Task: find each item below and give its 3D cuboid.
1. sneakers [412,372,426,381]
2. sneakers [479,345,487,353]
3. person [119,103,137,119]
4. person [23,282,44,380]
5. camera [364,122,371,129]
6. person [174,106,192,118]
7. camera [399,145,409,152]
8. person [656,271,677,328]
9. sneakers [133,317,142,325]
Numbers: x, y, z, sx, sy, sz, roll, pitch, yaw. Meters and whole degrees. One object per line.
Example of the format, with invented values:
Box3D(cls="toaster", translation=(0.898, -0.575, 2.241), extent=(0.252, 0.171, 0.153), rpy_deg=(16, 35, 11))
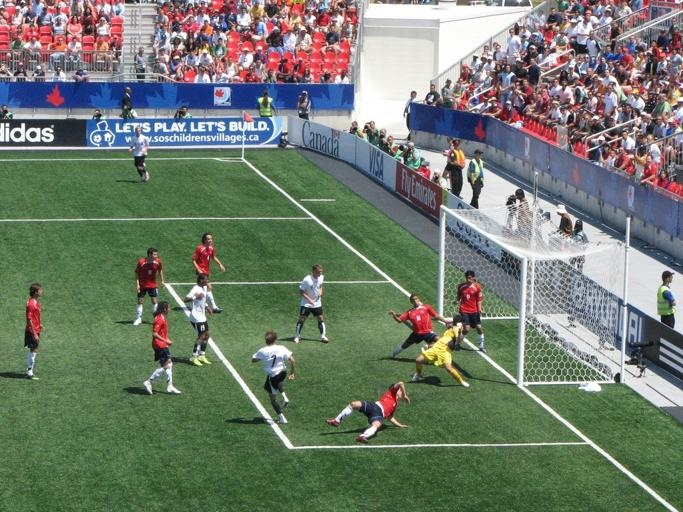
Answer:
Box3D(cls="sneakers", translation=(2.195, 3.453, 42.988), extent=(0.389, 0.174, 0.151), rpy_deg=(0, 13, 3))
Box3D(cls="sneakers", translation=(4.181, 2.742, 44.856), extent=(0.237, 0.227, 0.118), rpy_deg=(-5, 28, -14))
Box3D(cls="person", translation=(-9.073, -6.192, 64.344), extent=(0.796, 0.848, 0.535), rpy_deg=(4, 34, -17))
Box3D(cls="person", translation=(-8.692, 2.225, 42.647), extent=(0.615, 3.059, 1.102), rpy_deg=(0, 35, -19))
Box3D(cls="camera", translation=(1.032, -5.290, 61.268), extent=(0.232, 0.220, 0.230), rpy_deg=(2, 2, 1))
Box3D(cls="person", translation=(-6.874, -6.039, 64.433), extent=(0.768, 0.338, 0.764), rpy_deg=(1, -21, -33))
Box3D(cls="camera", translation=(2.381, -4.142, 58.174), extent=(0.315, 0.312, 0.493), rpy_deg=(1, 11, 1))
Box3D(cls="person", translation=(9.508, 1.327, 44.286), extent=(0.506, 1.650, 0.897), rpy_deg=(3, 17, 10))
Box3D(cls="sneakers", translation=(-6.139, 1.971, 45.495), extent=(0.188, 0.200, 0.468), rpy_deg=(1, 7, -5))
